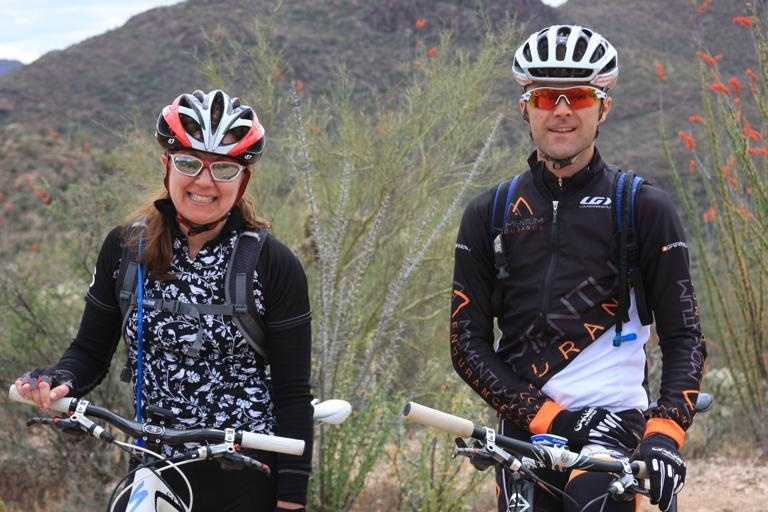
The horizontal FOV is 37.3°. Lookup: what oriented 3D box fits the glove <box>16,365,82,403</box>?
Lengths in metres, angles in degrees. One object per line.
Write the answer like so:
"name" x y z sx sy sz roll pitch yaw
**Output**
"glove" -3.091 1.159 10.549 0.350 0.171 0.325 2 33 -12
